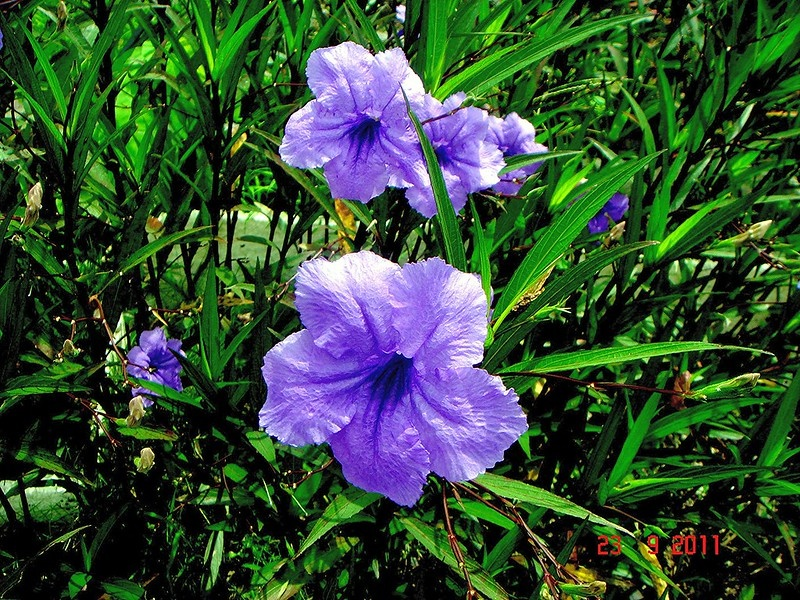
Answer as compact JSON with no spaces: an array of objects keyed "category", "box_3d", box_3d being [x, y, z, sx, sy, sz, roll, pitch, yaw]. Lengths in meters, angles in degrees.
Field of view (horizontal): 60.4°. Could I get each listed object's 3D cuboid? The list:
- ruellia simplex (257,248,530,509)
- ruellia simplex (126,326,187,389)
[{"category":"ruellia simplex","box_3d":[-0.001,0.172,1.565,0.603,0.391,0.388,21,50,8]},{"category":"ruellia simplex","box_3d":[-0.747,0.177,2.112,0.226,0.085,0.190,7,34,40]}]
